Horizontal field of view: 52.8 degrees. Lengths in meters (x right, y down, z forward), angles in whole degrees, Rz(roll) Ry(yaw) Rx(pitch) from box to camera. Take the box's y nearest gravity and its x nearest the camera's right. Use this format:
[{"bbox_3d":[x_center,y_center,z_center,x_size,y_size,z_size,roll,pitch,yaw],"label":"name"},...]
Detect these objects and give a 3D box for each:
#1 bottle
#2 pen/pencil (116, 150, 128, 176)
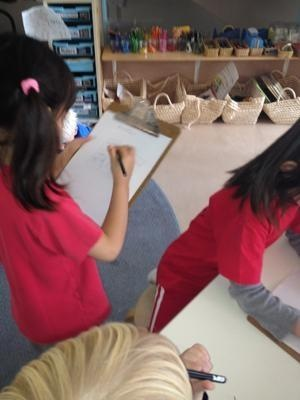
[{"bbox_3d":[-0.091,-1.615,3.052,0.467,0.202,0.370,5,41,4],"label":"bottle"},{"bbox_3d":[-0.083,-0.108,0.864,0.018,0.013,0.098,-15,50,5],"label":"pen/pencil"}]
